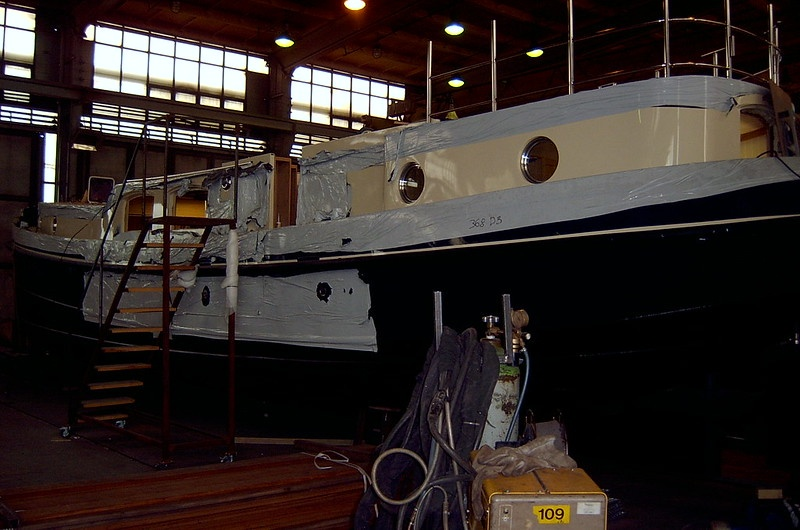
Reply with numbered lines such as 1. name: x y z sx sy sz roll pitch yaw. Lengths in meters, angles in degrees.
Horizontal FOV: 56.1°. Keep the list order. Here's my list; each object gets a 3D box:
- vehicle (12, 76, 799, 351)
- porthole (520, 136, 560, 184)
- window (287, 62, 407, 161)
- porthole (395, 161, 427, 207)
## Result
1. vehicle: -0.255 -0.347 8.006 8.013 2.531 0.940 -1 -10 26
2. porthole: 1.308 -0.995 7.031 0.481 0.527 0.060 2 1 -13
3. window: -2.122 -3.974 19.775 0.092 2.398 3.453 6 8 -29
4. porthole: 0.095 -0.847 7.624 0.335 0.379 0.083 -1 0 32
